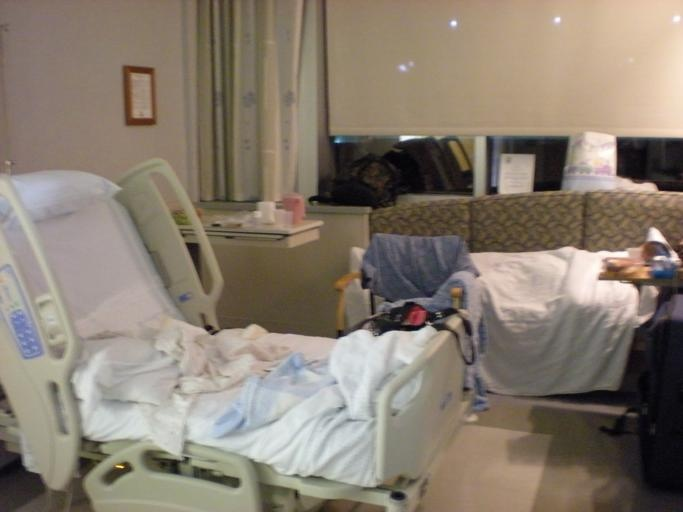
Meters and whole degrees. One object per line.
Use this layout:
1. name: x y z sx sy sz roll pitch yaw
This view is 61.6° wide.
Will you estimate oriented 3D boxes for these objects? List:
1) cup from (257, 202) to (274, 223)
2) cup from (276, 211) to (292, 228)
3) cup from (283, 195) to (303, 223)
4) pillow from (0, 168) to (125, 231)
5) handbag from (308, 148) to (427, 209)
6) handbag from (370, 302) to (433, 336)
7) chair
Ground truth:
1. cup: -0.443 -0.259 3.413 0.142 0.128 0.087 -1 3 10
2. cup: -0.348 -0.229 3.400 0.075 0.076 0.108 0 2 -2
3. cup: -0.294 -0.288 3.477 0.126 0.169 0.174 -1 0 -31
4. pillow: -1.337 -0.282 2.711 0.430 0.127 0.242 -13 61 -48
5. handbag: 0.201 -0.564 4.280 0.681 0.239 0.501 -3 39 19
6. handbag: 0.301 0.319 3.065 0.227 0.078 0.170 -7 9 -28
7. chair: 0.452 0.317 3.268 0.962 1.053 0.903 -1 1 13
